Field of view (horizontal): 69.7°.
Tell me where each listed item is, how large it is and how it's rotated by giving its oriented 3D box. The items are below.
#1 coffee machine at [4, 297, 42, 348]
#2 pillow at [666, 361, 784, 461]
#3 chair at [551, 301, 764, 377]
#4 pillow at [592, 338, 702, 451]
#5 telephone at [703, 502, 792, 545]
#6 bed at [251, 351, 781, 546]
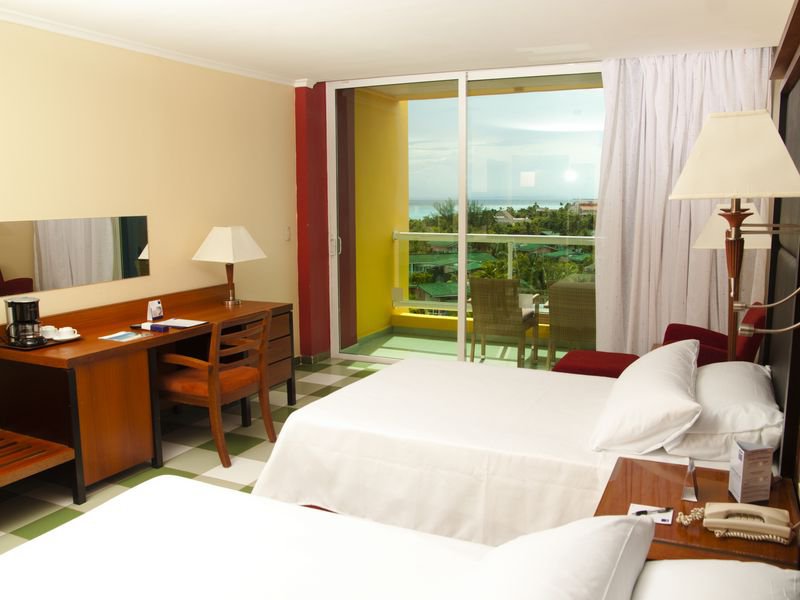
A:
[{"bbox_3d":[-2.235,0.141,3.405,0.184,0.311,0.232,-2,12,-15],"label":"coffee machine"},{"bbox_3d":[1.408,0.482,2.503,0.408,0.181,0.635,-4,11,28],"label":"pillow"},{"bbox_3d":[1.743,0.350,3.874,0.970,0.564,0.602,4,6,19],"label":"chair"},{"bbox_3d":[1.091,0.480,2.571,0.367,0.196,0.801,-8,13,27],"label":"pillow"},{"bbox_3d":[1.113,0.709,1.839,0.180,0.049,0.134,0,3,24],"label":"telephone"},{"bbox_3d":[0.460,0.649,2.753,1.759,0.542,1.197,6,12,24],"label":"bed"}]
